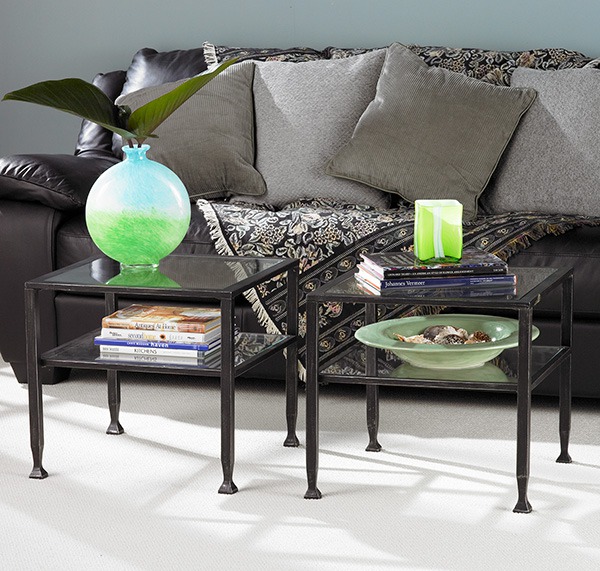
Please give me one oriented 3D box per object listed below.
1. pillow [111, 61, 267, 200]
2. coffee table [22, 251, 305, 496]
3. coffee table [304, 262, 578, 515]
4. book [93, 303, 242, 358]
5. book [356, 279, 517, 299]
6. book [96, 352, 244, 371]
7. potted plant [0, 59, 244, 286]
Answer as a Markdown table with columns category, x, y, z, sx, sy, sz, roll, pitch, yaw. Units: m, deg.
| category | x | y | z | sx | sy | sz | roll | pitch | yaw |
| --- | --- | --- | --- | --- | --- | --- | --- | --- | --- |
| pillow | -0.320 | -0.535 | 2.320 | 0.621 | 0.461 | 0.154 | -8 | -31 | 4 |
| coffee table | -0.315 | 0.199 | 1.449 | 0.556 | 0.331 | 0.422 | 3 | 1 | 24 |
| coffee table | 0.306 | 0.210 | 1.353 | 0.655 | 0.305 | 0.556 | 1 | -3 | -5 |
| book | -0.297 | 0.099 | 1.410 | 0.279 | 0.088 | 0.193 | 2 | 7 | 19 |
| book | 0.252 | 0.003 | 1.189 | 0.311 | 0.016 | 0.162 | 1 | 7 | 11 |
| book | -0.304 | 0.146 | 1.316 | 0.295 | 0.024 | 0.102 | 0 | 7 | 8 |
| potted plant | -0.326 | -0.207 | 1.598 | 0.743 | 0.526 | 0.539 | -1 | 3 | -16 |
